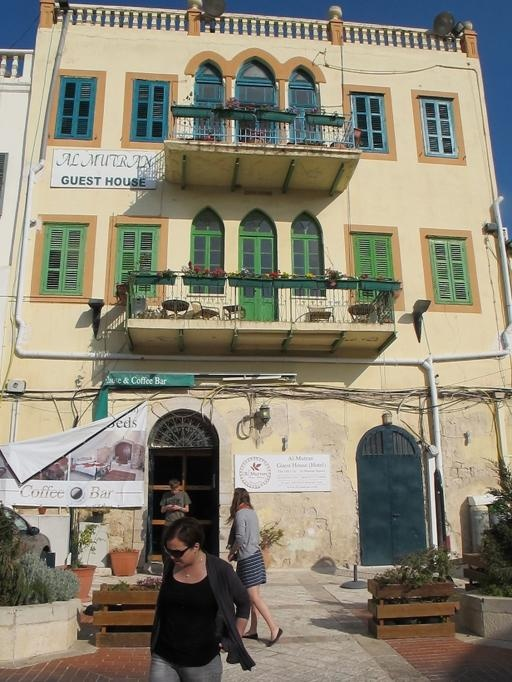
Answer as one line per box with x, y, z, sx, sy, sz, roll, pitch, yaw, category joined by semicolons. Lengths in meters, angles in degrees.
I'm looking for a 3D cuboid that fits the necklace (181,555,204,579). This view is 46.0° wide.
-0.338;1.192;3.165;0.096;0.089;0.117;1;-17;-3;necklace

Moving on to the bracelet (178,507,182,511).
-1.097;2.410;8.668;0.047;0.044;0.087;15;-34;-9;bracelet

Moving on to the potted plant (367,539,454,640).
1.749;2.858;6.895;0.933;0.848;0.773;4;-24;-10;potted plant

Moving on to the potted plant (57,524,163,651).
-1.542;2.691;6.842;1.233;0.738;1.214;1;-12;-6;potted plant

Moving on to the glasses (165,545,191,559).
-0.385;1.082;3.095;0.109;0.033;0.113;-8;-15;31;glasses

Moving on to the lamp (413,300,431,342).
3.769;-0.459;13.690;0.352;0.858;0.898;-15;-10;28;lamp

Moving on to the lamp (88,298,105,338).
-3.427;-0.491;12.785;0.292;0.795;0.422;5;-15;-14;lamp

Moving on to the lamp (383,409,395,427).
2.834;1.667;13.098;0.298;0.392;0.271;7;-47;5;lamp

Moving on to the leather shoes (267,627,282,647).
0.192;2.954;6.013;0.147;0.118;0.358;10;-34;-8;leather shoes
